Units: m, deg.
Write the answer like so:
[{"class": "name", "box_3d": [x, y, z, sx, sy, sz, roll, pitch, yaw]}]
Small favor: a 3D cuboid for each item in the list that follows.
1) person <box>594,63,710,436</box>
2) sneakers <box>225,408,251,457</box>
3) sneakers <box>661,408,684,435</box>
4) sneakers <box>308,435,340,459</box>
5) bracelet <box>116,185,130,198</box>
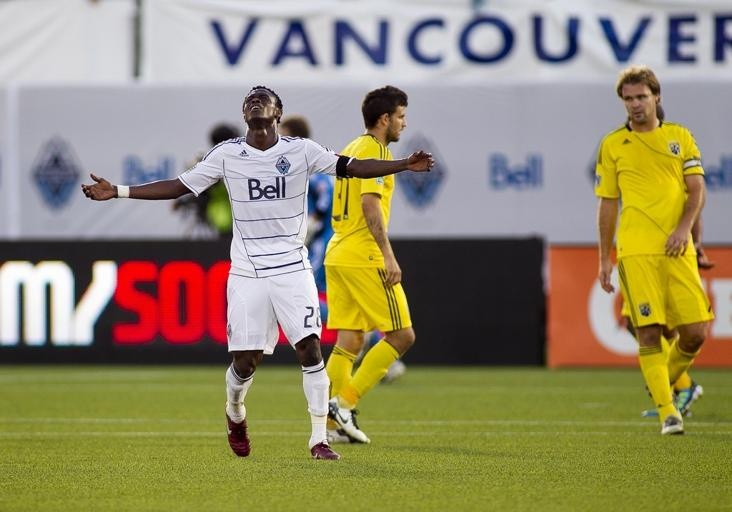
[{"class": "person", "box_3d": [2.850, -0.406, 12.946, 1.077, 3.074, 0.524, -3, 1, 4]}, {"class": "sneakers", "box_3d": [-1.245, 1.694, 12.296, 0.218, 0.208, 0.609, -4, 28, -9]}, {"class": "sneakers", "box_3d": [3.030, 1.680, 12.832, 0.191, 0.220, 0.208, -3, 1, 1]}, {"class": "sneakers", "box_3d": [-0.407, 1.851, 12.093, 0.129, 0.140, 0.323, 0, -8, -28]}, {"class": "bracelet", "box_3d": [-2.312, -0.615, 12.163, 0.126, 0.096, 0.128, 2, 1, 6]}]
